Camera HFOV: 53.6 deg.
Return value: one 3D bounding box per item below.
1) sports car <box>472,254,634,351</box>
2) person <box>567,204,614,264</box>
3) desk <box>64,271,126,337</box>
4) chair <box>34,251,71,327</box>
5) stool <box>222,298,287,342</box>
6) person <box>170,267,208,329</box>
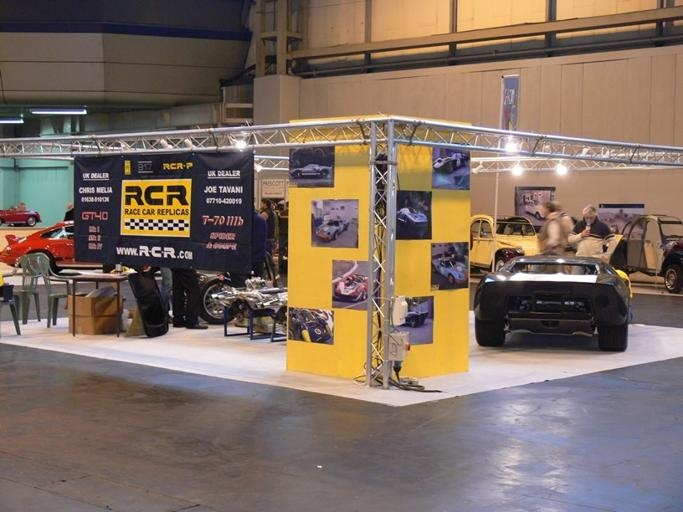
[{"bbox_3d":[3.845,0.635,12.010,2.398,1.393,4.150,1,5,21],"label":"sports car"},{"bbox_3d":[4.941,-0.414,13.486,0.828,1.348,0.818,4,5,23],"label":"person"},{"bbox_3d":[-4.292,0.643,12.265,1.021,1.442,1.044,0,1,-41],"label":"desk"},{"bbox_3d":[-6.473,0.747,15.193,0.631,1.368,0.547,10,12,40],"label":"chair"},{"bbox_3d":[-1.487,1.138,12.002,0.959,0.852,0.895,4,7,38],"label":"stool"},{"bbox_3d":[-2.882,0.774,12.713,0.710,1.205,0.649,5,7,-31],"label":"person"}]
